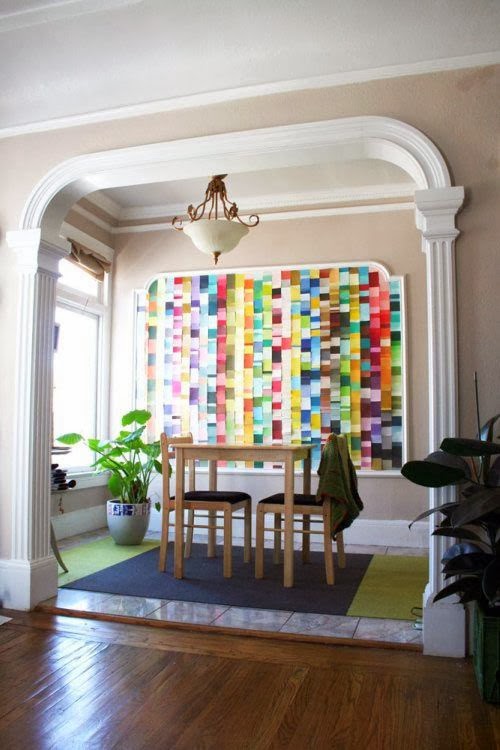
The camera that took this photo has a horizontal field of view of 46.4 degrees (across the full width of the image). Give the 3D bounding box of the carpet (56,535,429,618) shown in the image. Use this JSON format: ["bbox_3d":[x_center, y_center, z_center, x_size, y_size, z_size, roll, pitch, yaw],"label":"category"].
[{"bbox_3d":[-0.037,1.177,3.450,2.071,0.169,1.328,-5,-4,16],"label":"carpet"}]

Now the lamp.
[{"bbox_3d":[-0.217,-1.031,3.715,0.468,0.574,0.527,-1,1,-28],"label":"lamp"}]

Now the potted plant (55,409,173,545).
[{"bbox_3d":[-0.919,0.818,4.839,0.978,1.207,0.964,-1,-5,0],"label":"potted plant"}]

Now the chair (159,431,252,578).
[{"bbox_3d":[-0.270,0.799,3.715,0.590,0.849,0.611,-6,-9,40],"label":"chair"}]
